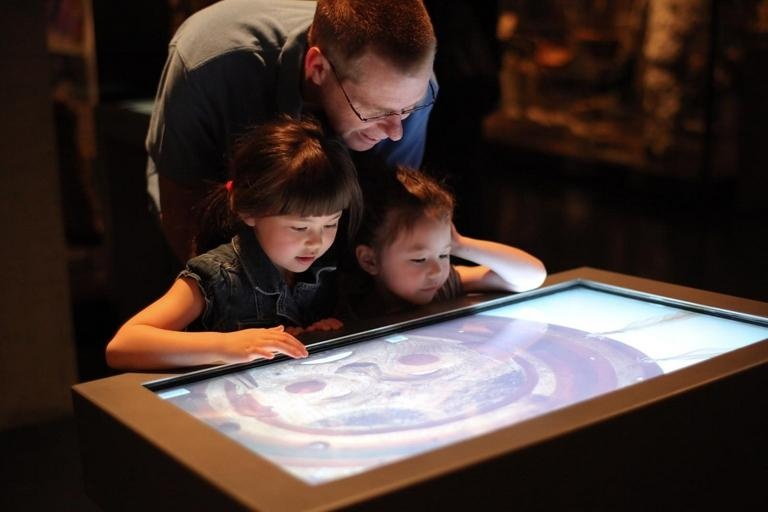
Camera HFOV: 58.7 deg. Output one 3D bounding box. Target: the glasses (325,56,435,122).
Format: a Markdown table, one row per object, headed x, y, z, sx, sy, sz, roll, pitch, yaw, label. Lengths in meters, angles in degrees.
| x | y | z | sx | sy | sz | roll | pitch | yaw | label |
| --- | --- | --- | --- | --- | --- | --- | --- | --- | --- |
| -0.020 | -0.405 | 1.781 | 0.196 | 0.196 | 0.052 | -26 | -1 | -36 | glasses |
